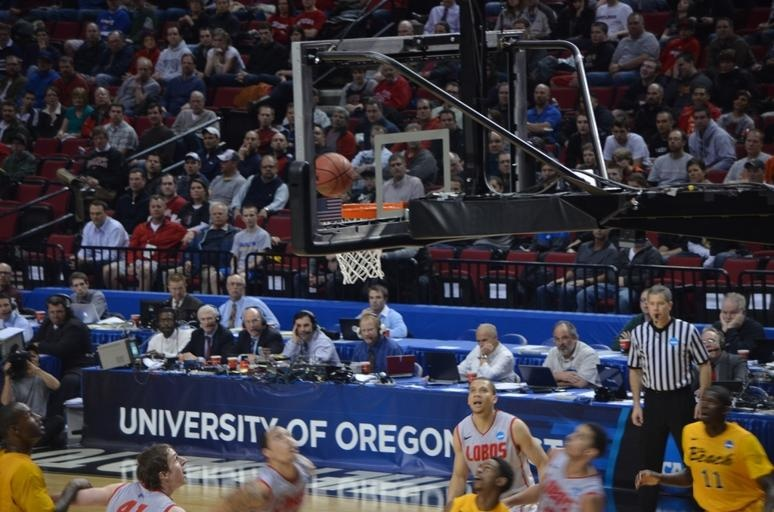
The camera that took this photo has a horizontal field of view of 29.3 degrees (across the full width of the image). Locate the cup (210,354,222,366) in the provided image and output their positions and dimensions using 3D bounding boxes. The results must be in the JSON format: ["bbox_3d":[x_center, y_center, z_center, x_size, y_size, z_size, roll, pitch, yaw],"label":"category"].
[{"bbox_3d":[-2.558,1.569,22.091,0.140,0.100,0.113,2,-5,1],"label":"cup"}]

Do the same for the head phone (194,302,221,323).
[{"bbox_3d":[-2.744,0.853,22.488,0.238,0.323,0.270,-7,11,1],"label":"head phone"}]

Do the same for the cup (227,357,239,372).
[{"bbox_3d":[-2.268,1.634,21.971,0.170,0.178,0.171,1,4,0],"label":"cup"}]

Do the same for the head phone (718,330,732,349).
[{"bbox_3d":[4.584,1.160,20.174,0.101,0.275,0.230,-17,15,-20],"label":"head phone"}]

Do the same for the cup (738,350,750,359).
[{"bbox_3d":[4.863,1.356,20.284,0.155,0.136,0.140,-3,4,-35],"label":"cup"}]

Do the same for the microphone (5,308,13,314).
[{"bbox_3d":[-5.940,0.873,23.303,0.096,0.071,0.094,1,7,-11],"label":"microphone"}]

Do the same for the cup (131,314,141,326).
[{"bbox_3d":[-4.087,1.059,24.212,0.184,0.236,0.172,1,4,0],"label":"cup"}]

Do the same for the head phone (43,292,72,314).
[{"bbox_3d":[-5.104,0.710,23.022,0.277,0.355,0.270,-6,36,-5],"label":"head phone"}]

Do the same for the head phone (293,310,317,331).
[{"bbox_3d":[-1.209,0.967,21.933,0.277,0.268,0.300,0,-11,1],"label":"head phone"}]

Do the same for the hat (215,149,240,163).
[{"bbox_3d":[-2.736,-1.784,25.945,0.335,0.175,0.244,8,-6,-32],"label":"hat"}]

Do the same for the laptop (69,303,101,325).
[{"bbox_3d":[-4.878,0.937,24.024,0.410,0.264,0.328,5,-1,15],"label":"laptop"}]

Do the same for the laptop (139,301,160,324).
[{"bbox_3d":[-3.781,0.909,23.734,0.188,0.347,0.342,4,-4,-40],"label":"laptop"}]

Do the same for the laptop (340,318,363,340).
[{"bbox_3d":[-0.572,1.140,22.923,0.398,0.271,0.293,2,9,27],"label":"laptop"}]

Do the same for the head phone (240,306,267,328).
[{"bbox_3d":[-2.037,0.899,22.347,0.245,0.322,0.280,-6,18,2],"label":"head phone"}]

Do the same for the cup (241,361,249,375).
[{"bbox_3d":[-2.106,1.649,21.827,0.110,0.163,0.168,4,-6,-33],"label":"cup"}]

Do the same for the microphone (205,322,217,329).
[{"bbox_3d":[-2.654,1.076,22.498,0.088,0.064,0.118,-9,-12,4],"label":"microphone"}]
